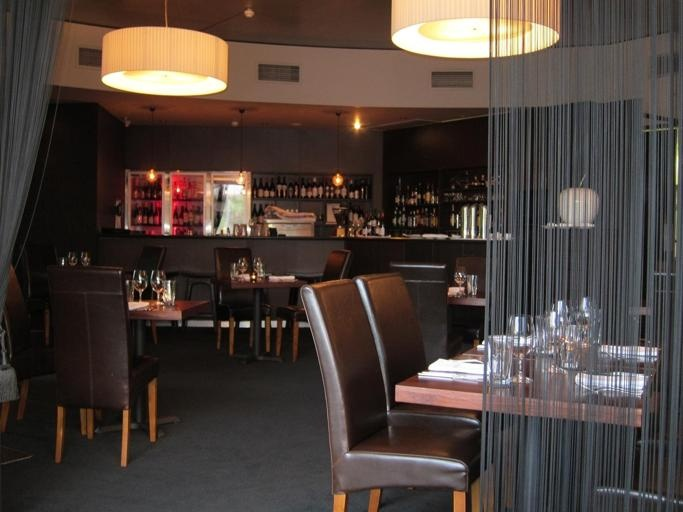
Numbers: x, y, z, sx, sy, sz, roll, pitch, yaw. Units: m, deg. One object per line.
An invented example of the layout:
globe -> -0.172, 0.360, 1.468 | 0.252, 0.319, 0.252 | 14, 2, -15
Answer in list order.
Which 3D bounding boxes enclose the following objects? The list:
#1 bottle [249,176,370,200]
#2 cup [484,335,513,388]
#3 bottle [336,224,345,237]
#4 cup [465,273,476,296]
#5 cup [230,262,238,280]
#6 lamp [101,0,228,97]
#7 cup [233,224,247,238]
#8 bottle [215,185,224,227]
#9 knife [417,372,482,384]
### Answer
bottle -> -0.421, -0.993, 10.171 | 1.723, 0.368, 0.234 | 0, 5, -13
cup -> 0.539, 0.365, 2.428 | 0.096, 0.194, 0.104 | 0, -1, 0
bottle -> -0.011, -0.340, 9.423 | 0.148, 0.197, 0.150 | 1, 3, 0
cup -> 0.944, 0.215, 5.199 | 0.107, 0.186, 0.111 | -1, -2, 0
cup -> -0.967, 0.153, 6.382 | 0.100, 0.200, 0.113 | 0, 1, -11
lamp -> -1.243, -1.343, 5.048 | 0.618, 0.842, 0.673 | 1, -2, -8
cup -> -1.281, -0.325, 8.966 | 0.191, 0.170, 0.209 | 0, 0, 0
bottle -> -1.746, -0.703, 10.047 | 0.132, 0.613, 0.118 | 0, 5, -12
knife -> 0.420, 0.474, 2.748 | 0.254, 0.038, 0.033 | 3, 5, 21
